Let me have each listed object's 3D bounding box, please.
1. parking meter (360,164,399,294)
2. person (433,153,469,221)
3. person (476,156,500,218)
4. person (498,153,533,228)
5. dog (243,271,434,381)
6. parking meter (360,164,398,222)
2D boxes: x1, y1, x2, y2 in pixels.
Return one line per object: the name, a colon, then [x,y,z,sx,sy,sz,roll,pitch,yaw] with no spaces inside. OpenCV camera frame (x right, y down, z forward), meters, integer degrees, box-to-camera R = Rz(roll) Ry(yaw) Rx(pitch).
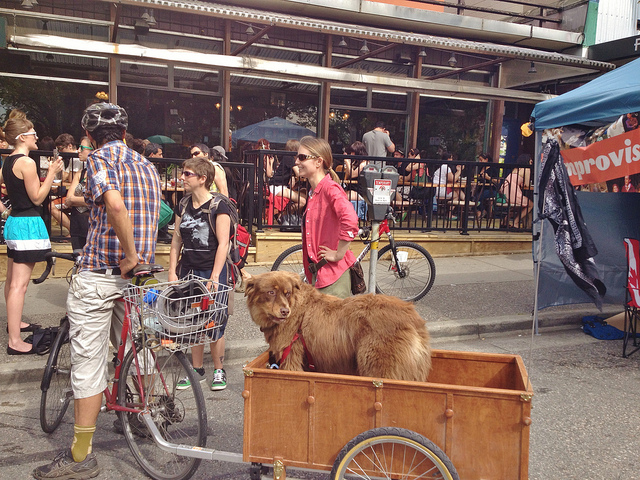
parking meter: [0.746,-0.132,8.603,0.475,1.602,0.579,2,6,6]
person: [2.821,-1.128,14.703,0.726,1.460,1.213,5,8,31]
person: [3.698,-1.075,14.865,0.463,1.241,1.312,3,7,14]
person: [4.398,-1.060,15.048,0.628,1.613,1.028,5,8,32]
dog: [0.185,0.870,6.612,1.877,0.991,0.782,8,-1,25]
parking meter: [0.737,-0.583,8.559,0.434,0.696,0.358,2,7,5]
